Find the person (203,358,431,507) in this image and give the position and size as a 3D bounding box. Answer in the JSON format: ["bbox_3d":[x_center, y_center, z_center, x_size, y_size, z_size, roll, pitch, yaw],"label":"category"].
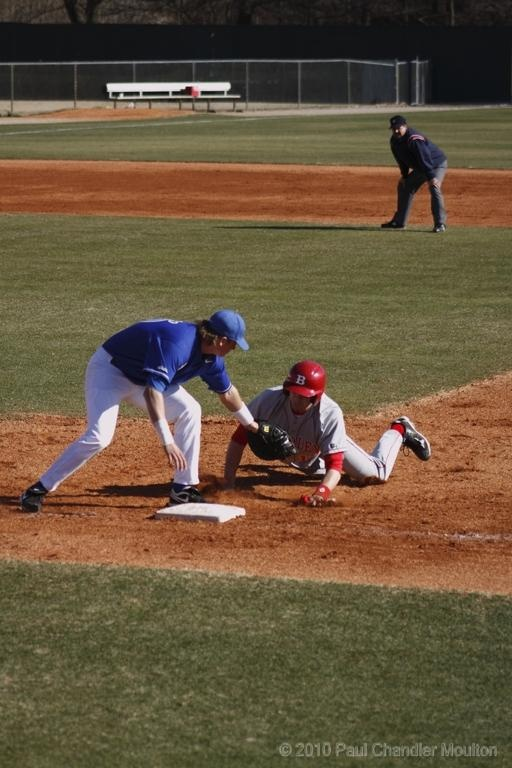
[{"bbox_3d":[0.416,0.213,7.768,0.628,0.588,0.980,12,13,24],"label":"person"}]

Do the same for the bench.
[{"bbox_3d":[-2.339,-7.977,38.514,2.586,0.872,5.152,6,10,44],"label":"bench"}]

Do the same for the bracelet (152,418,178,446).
[{"bbox_3d":[-0.445,0.230,6.687,0.076,0.141,0.059,-25,3,-38],"label":"bracelet"}]

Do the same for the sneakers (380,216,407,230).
[{"bbox_3d":[1.588,-1.816,15.925,0.260,0.174,0.134,4,23,-1],"label":"sneakers"}]

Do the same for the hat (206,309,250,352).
[{"bbox_3d":[-0.143,-0.257,6.696,0.206,0.195,0.182,-2,7,-15],"label":"hat"}]

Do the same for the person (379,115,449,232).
[{"bbox_3d":[1.738,-2.265,15.128,0.652,1.270,1.509,0,7,7],"label":"person"}]

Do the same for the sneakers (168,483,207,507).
[{"bbox_3d":[-0.380,0.584,7.401,0.207,0.103,0.082,2,15,-25],"label":"sneakers"}]

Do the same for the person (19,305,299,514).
[{"bbox_3d":[-0.484,0.174,6.877,1.250,1.209,0.879,4,22,-15],"label":"person"}]
